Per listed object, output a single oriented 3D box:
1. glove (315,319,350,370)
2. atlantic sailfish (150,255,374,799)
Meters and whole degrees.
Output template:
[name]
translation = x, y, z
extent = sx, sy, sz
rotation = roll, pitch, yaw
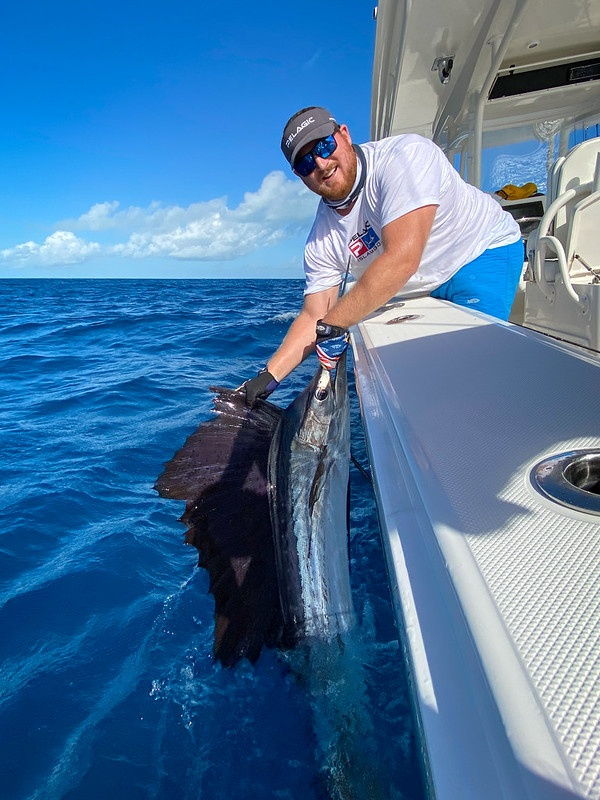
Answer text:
[glove]
translation = 0.083, -0.189, 1.799
extent = 0.143, 0.208, 0.132
rotation = 2, -15, -2
[atlantic sailfish]
translation = 0.010, 0.384, 1.857
extent = 0.636, 0.366, 1.528
rotation = 2, 49, 17
